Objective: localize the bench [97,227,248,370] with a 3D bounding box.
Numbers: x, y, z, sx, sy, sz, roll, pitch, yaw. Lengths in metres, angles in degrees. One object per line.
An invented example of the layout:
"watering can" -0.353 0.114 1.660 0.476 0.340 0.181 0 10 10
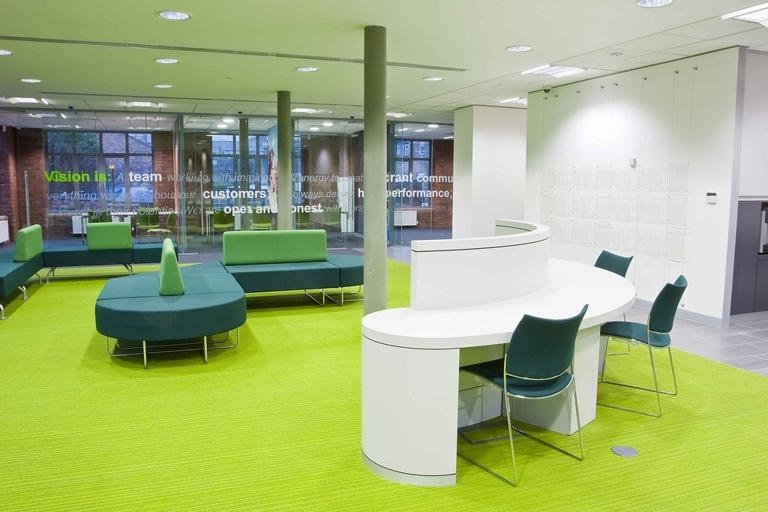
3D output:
"bench" -3.081 0.576 7.369 1.640 1.071 2.164 -2 8 -23

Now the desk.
"desk" 0.715 1.068 4.642 2.741 1.198 1.623 -7 15 -30

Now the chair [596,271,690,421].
"chair" 2.854 0.940 5.816 0.904 1.426 0.833 5 7 37

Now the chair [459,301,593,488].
"chair" 1.304 1.154 4.693 1.205 1.499 0.775 -4 14 -19
